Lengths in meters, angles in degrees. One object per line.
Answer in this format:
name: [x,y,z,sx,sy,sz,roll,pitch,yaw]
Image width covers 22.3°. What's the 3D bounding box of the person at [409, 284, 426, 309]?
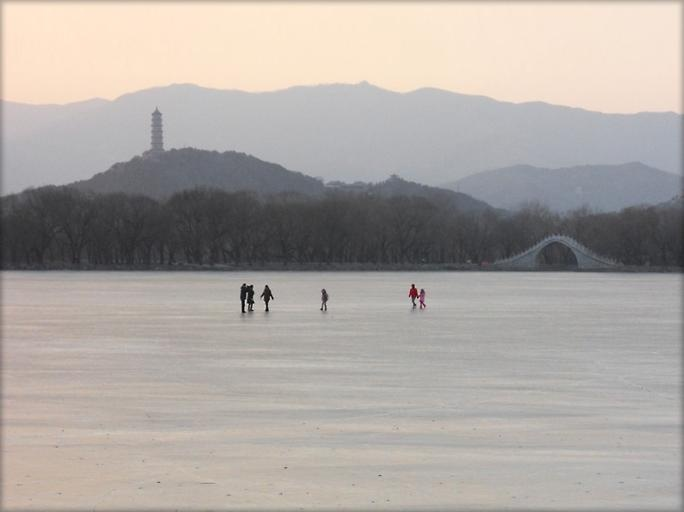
person: [4.835,2.598,112.305,0.950,1.485,0.906,-15,-26,30]
